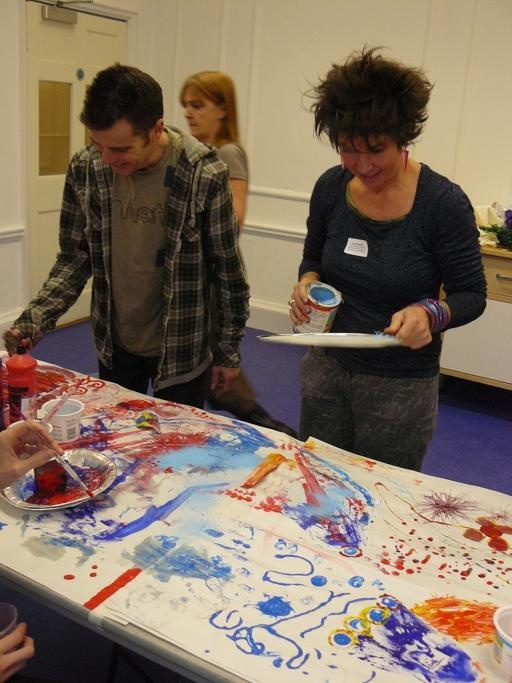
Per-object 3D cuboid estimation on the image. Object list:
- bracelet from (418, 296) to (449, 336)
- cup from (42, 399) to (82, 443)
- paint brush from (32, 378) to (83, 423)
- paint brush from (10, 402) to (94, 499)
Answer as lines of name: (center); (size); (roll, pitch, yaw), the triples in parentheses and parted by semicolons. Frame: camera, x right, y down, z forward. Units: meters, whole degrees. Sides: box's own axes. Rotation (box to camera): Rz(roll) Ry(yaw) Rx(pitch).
bracelet: (0.461, -0.068, 1.481); (0.085, 0.079, 0.034); (-13, 18, -32)
cup: (-0.520, 0.220, 1.580); (0.117, 0.090, 0.116); (0, 36, 0)
paint brush: (-0.535, 0.158, 1.483); (0.078, 0.117, 0.121); (-2, 0, 39)
paint brush: (-0.519, 0.216, 1.449); (0.080, 0.062, 0.537); (-44, 34, -8)
